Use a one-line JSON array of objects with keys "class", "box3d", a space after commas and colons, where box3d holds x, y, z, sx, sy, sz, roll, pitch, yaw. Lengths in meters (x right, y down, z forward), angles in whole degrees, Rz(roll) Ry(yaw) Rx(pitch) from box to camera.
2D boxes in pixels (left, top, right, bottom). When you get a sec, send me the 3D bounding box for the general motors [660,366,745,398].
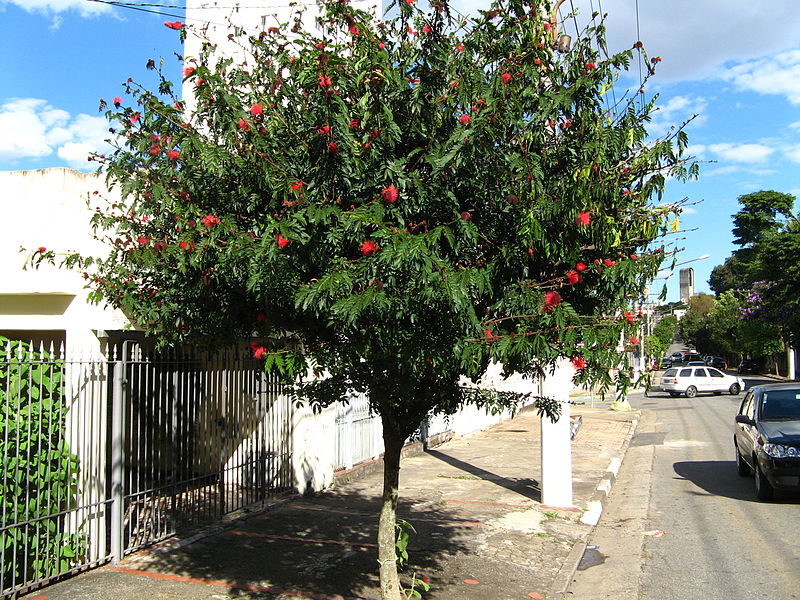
[{"class": "general motors", "box3d": [17.492, 4.609, 36.890, 3.840, 1.661, 1.271, 1, -2, 4]}]
